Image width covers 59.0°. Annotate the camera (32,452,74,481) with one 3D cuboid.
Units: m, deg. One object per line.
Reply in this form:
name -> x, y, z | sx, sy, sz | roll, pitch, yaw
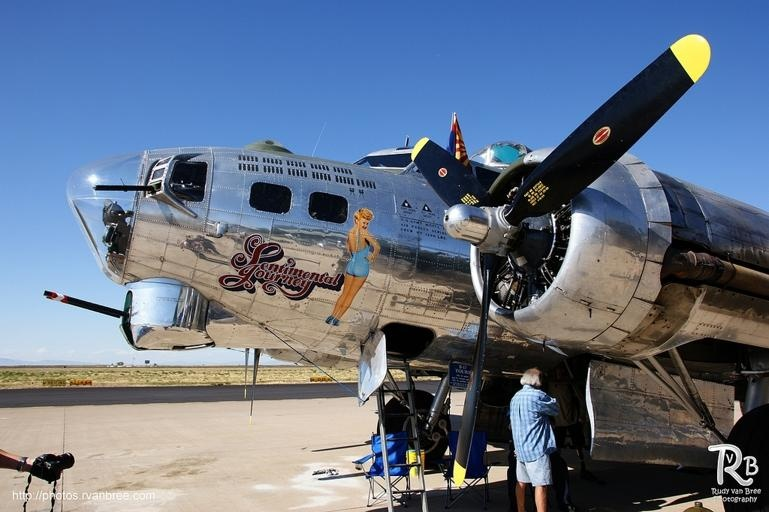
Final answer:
camera -> -5.191, 3.246, 10.757 | 0.520, 0.246, 0.607 | 5, 1, 15
